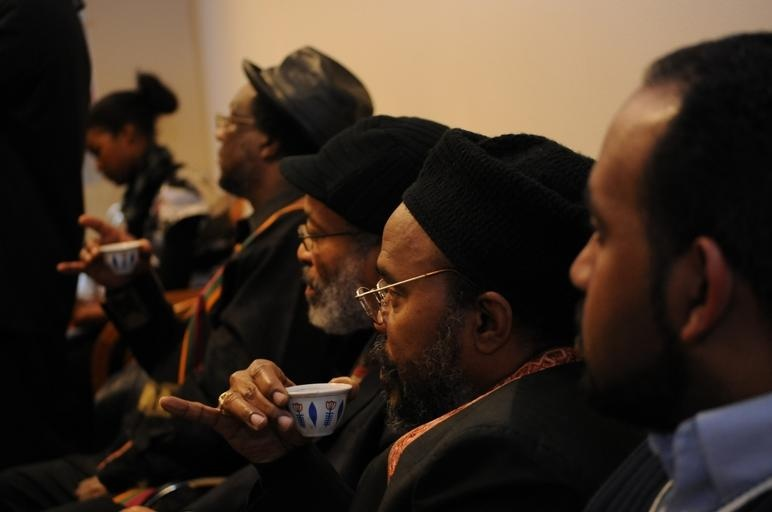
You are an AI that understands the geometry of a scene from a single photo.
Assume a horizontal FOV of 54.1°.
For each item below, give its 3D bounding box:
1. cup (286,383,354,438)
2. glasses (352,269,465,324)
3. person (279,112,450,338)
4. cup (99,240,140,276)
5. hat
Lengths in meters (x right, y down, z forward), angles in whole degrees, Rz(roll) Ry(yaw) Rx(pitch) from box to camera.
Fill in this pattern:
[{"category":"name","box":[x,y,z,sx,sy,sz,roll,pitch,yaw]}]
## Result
[{"category":"cup","box":[-0.233,0.514,2.537,0.192,0.128,0.196,-2,-12,0]},{"category":"glasses","box":[0.040,0.155,2.642,0.245,0.092,0.238,-23,-1,0]},{"category":"person","box":[0.050,-0.237,3.519,0.838,1.032,0.683,11,22,13]},{"category":"cup","box":[-0.991,0.008,2.804,0.113,0.087,0.115,-7,-1,0]},{"category":"hat","box":[0.099,-0.319,3.264,1.310,0.587,0.853,7,17,-10]}]
